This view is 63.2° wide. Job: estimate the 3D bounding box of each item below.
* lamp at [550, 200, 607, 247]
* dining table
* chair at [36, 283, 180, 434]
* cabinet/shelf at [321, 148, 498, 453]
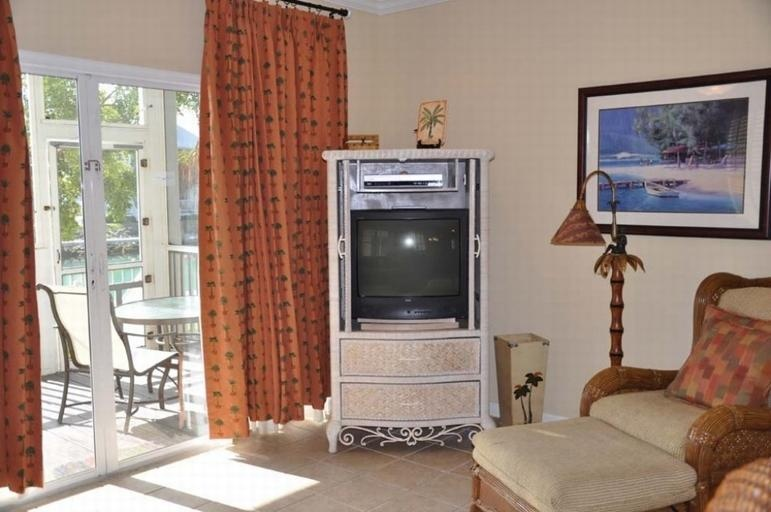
[{"bbox_3d":[1.280,-0.226,4.196,0.337,0.293,0.307,-2,4,-21],"label":"lamp"},{"bbox_3d":[-1.708,0.646,4.753,0.647,0.456,0.633,1,8,6],"label":"dining table"},{"bbox_3d":[-2.005,0.666,4.697,0.880,1.343,1.037,1,2,32],"label":"chair"},{"bbox_3d":[0.181,0.334,4.924,1.320,2.308,0.939,1,15,3],"label":"cabinet/shelf"}]
